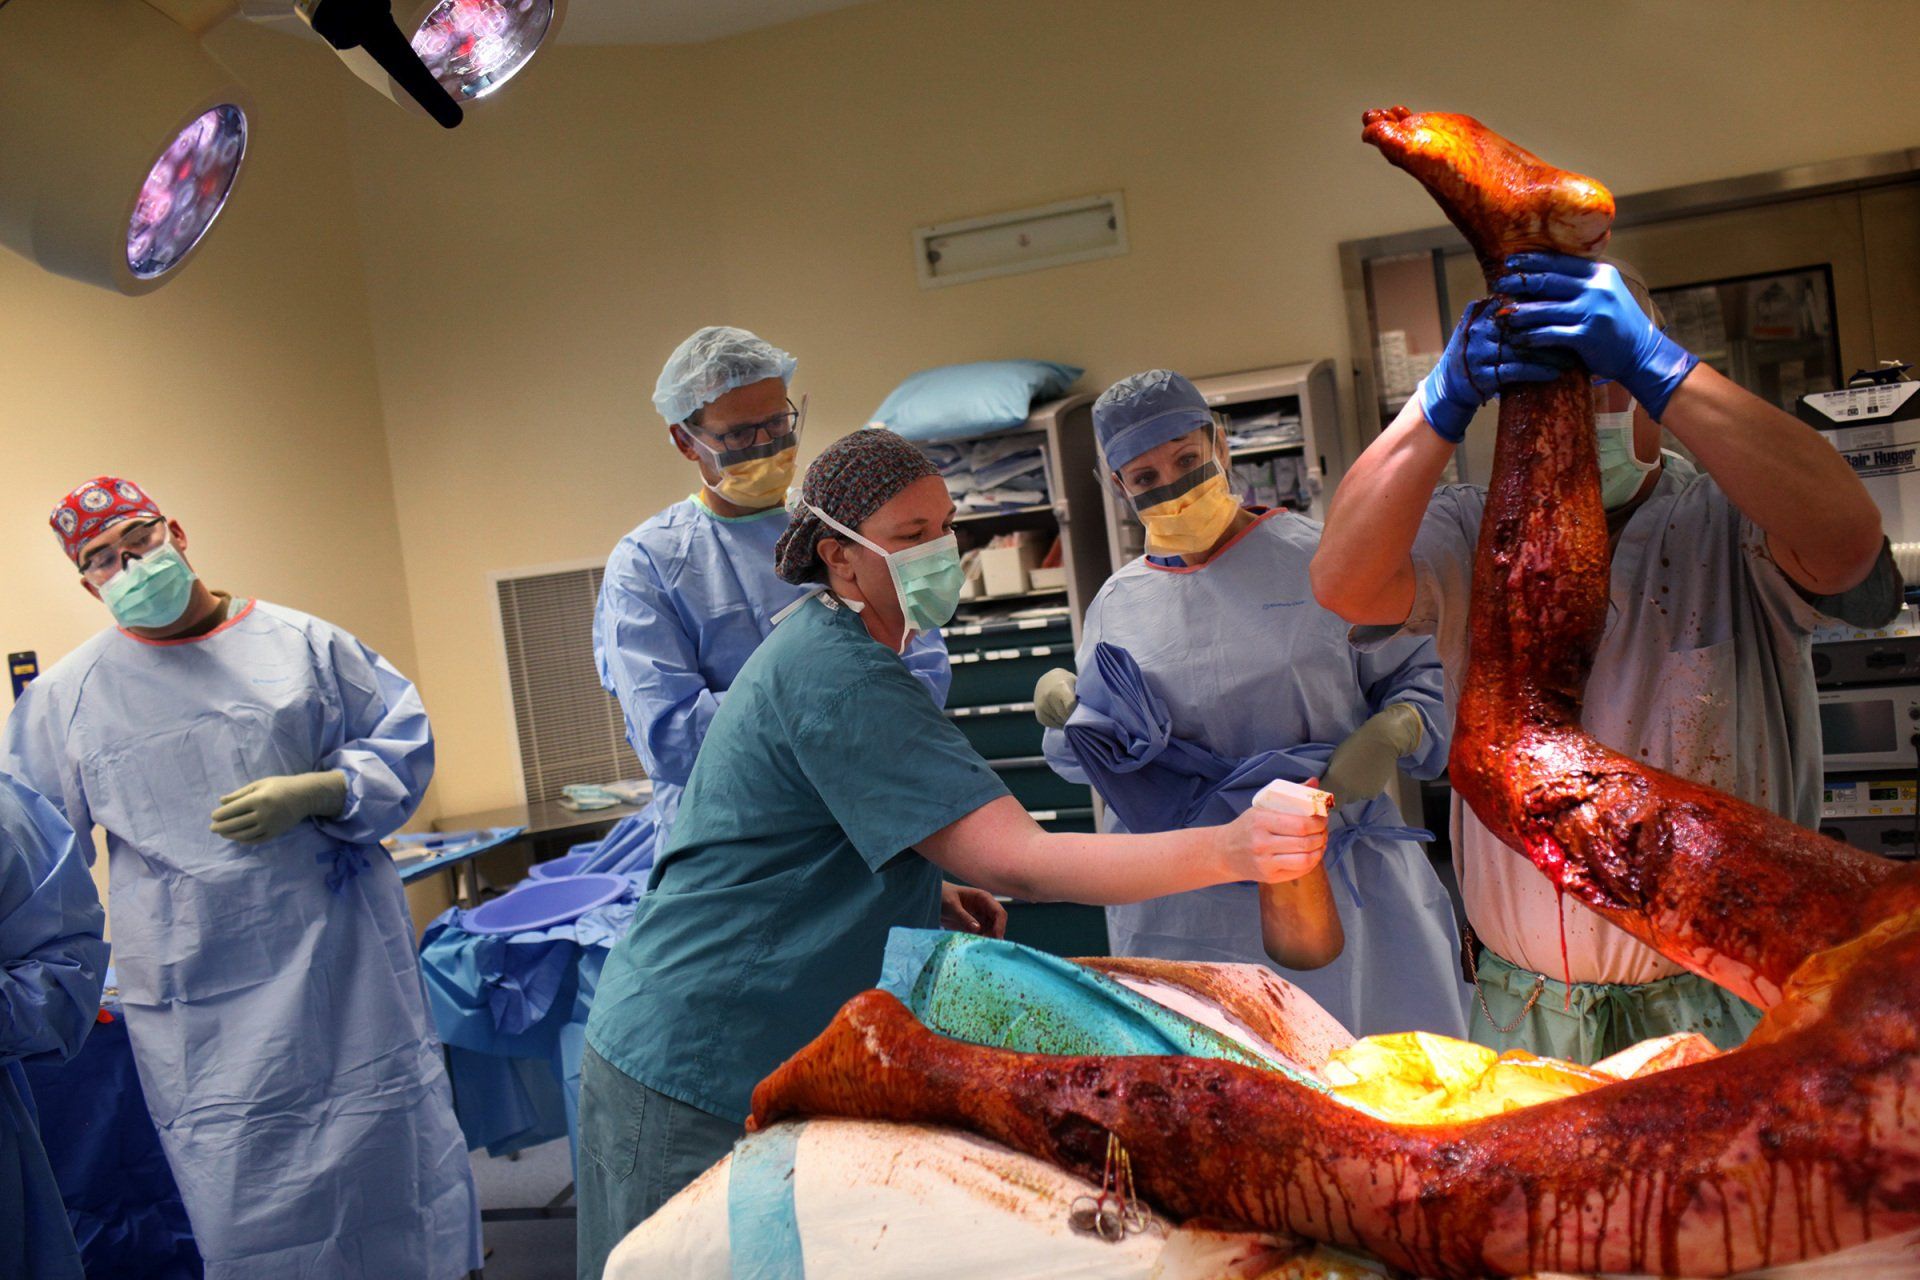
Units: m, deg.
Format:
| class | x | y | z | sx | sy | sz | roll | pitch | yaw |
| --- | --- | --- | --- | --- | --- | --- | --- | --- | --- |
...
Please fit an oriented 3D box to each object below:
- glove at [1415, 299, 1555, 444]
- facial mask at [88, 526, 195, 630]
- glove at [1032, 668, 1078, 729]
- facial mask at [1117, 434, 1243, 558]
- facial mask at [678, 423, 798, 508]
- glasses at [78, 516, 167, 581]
| class | x | y | z | sx | sy | sz | roll | pitch | yaw |
| --- | --- | --- | --- | --- | --- | --- | --- | --- | --- |
| glove | 0.623 | -0.326 | 1.739 | 0.158 | 0.120 | 0.236 | 10 | 22 | 21 |
| facial mask | -1.846 | -0.142 | 3.318 | 0.187 | 0.145 | 0.230 | -34 | 21 | -4 |
| glove | 0.215 | 0.143 | 3.115 | 0.087 | 0.124 | 0.087 | 14 | 13 | -15 |
| facial mask | 0.453 | -0.288 | 2.881 | 0.198 | 0.159 | 0.257 | -24 | 15 | 13 |
| facial mask | -0.476 | -0.383 | 3.252 | 0.168 | 0.125 | 0.201 | -25 | 42 | -22 |
| glasses | -1.872 | -0.207 | 3.215 | 0.145 | 0.048 | 0.148 | -33 | 22 | -10 |
